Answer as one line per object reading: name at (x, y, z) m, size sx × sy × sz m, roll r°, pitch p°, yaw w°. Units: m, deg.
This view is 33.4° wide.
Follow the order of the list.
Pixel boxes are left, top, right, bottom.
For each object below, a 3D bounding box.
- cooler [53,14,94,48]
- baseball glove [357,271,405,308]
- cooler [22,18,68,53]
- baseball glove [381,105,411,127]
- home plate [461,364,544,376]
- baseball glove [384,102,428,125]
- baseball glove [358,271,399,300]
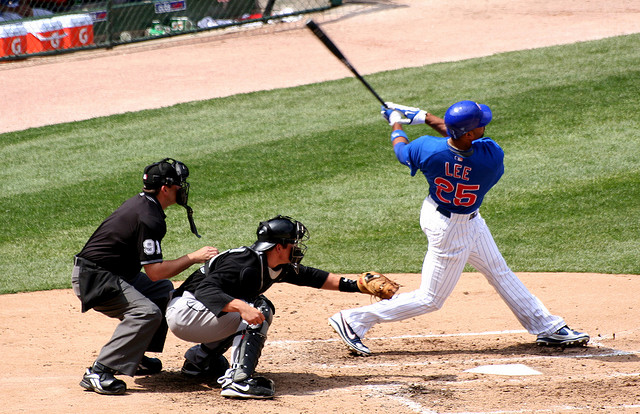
cooler at (-4.910, -3.582, 21.837) m, size 0.765 × 0.389 × 0.604 m, roll -8°, pitch 10°, yaw 4°
baseball glove at (0.685, 0.946, 12.276) m, size 0.539 × 0.187 × 0.401 m, roll 25°, pitch 15°, yaw 40°
cooler at (-5.555, -3.436, 21.419) m, size 0.951 × 0.453 × 0.804 m, roll -9°, pitch 17°, yaw -36°
baseball glove at (0.918, -1.076, 12.803) m, size 0.274 × 0.126 × 0.387 m, roll 3°, pitch 19°, yaw -39°
home plate at (2.088, 1.850, 12.061) m, size 0.842 × 0.065 × 0.218 m, roll 1°, pitch 11°, yaw 7°
baseball glove at (1.033, -1.105, 12.789) m, size 0.490 × 0.099 × 0.236 m, roll 11°, pitch 42°, yaw 25°
baseball glove at (0.599, 0.909, 12.233) m, size 0.485 × 0.155 × 0.290 m, roll 20°, pitch 36°, yaw 18°
